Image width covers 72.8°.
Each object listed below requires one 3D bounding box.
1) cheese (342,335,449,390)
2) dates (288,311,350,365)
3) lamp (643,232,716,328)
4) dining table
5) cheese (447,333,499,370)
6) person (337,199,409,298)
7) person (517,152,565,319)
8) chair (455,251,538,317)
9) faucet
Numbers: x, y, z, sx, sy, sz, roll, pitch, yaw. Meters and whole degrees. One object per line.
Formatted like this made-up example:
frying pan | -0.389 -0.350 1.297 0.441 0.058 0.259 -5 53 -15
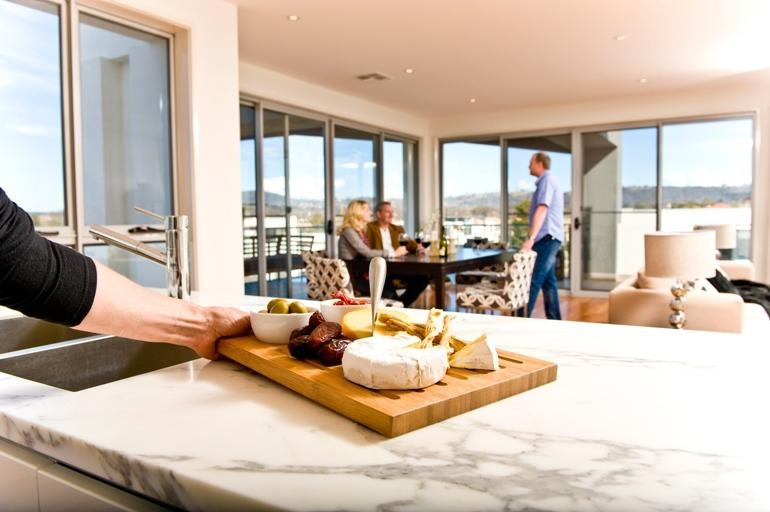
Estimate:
cheese | 0.037 0.197 1.073 0.172 0.082 0.205 -1 3 -40
dates | -0.140 0.172 1.118 0.091 0.048 0.112 7 11 6
lamp | 1.609 0.099 2.896 0.322 0.540 0.533 5 14 25
dining table | 0.553 0.062 4.389 0.793 0.647 2.054 2 4 35
cheese | 0.162 0.205 1.116 0.142 0.063 0.131 4 -10 4
person | -0.208 -0.111 4.736 0.505 0.866 0.579 9 7 39
person | 1.496 -0.186 5.161 0.539 1.649 0.596 1 1 29
chair | 0.951 0.260 4.576 0.623 0.671 0.659 4 6 30
faucet | -0.725 -0.005 1.559 0.259 0.289 0.070 2 15 -13
